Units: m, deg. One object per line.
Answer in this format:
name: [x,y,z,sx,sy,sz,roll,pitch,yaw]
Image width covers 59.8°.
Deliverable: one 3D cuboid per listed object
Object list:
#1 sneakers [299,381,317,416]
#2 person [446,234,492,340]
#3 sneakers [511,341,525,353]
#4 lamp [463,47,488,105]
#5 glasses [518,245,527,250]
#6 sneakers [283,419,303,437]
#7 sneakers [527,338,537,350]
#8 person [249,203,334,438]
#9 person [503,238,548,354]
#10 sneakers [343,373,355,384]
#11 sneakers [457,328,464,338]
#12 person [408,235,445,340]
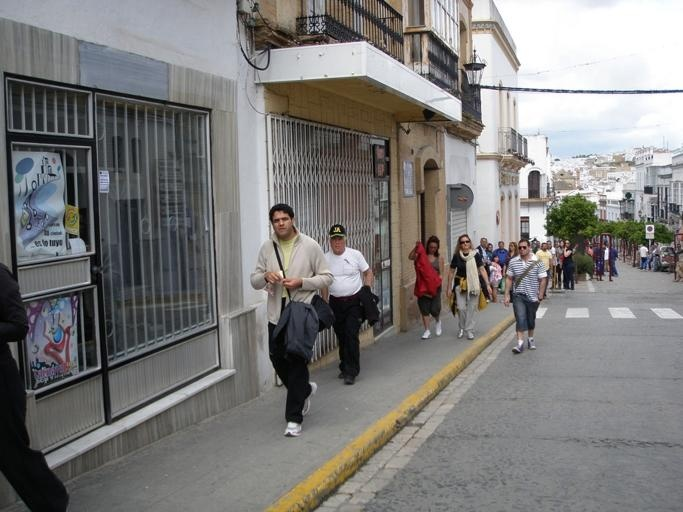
sneakers: [-0.422,1.698,7.007,0.127,0.468,0.170,7,1,28]
person: [2.545,0.634,12.175,0.783,2.081,0.482,1,2,25]
sneakers: [3.343,1.737,11.272,0.136,0.223,0.456,-3,-8,20]
lamp: [4.571,-6.135,20.181,0.572,1.773,0.597,-6,2,30]
glasses: [3.414,-0.149,11.165,0.153,0.077,0.101,2,2,33]
sneakers: [-0.528,1.842,6.410,0.216,0.148,0.201,0,2,-18]
sneakers: [3.753,1.718,11.689,0.106,0.182,0.360,-1,-3,3]
person: [-0.597,0.682,6.517,0.803,2.465,0.711,1,2,28]
person: [3.547,0.758,11.510,0.757,2.133,1.129,1,2,16]
sneakers: [0.102,1.753,8.501,0.086,0.133,0.268,-1,-9,5]
sneakers: [2.459,1.599,12.301,0.140,0.204,0.440,-2,-4,12]
person: [1.801,0.665,12.515,0.642,2.113,1.390,1,2,10]
